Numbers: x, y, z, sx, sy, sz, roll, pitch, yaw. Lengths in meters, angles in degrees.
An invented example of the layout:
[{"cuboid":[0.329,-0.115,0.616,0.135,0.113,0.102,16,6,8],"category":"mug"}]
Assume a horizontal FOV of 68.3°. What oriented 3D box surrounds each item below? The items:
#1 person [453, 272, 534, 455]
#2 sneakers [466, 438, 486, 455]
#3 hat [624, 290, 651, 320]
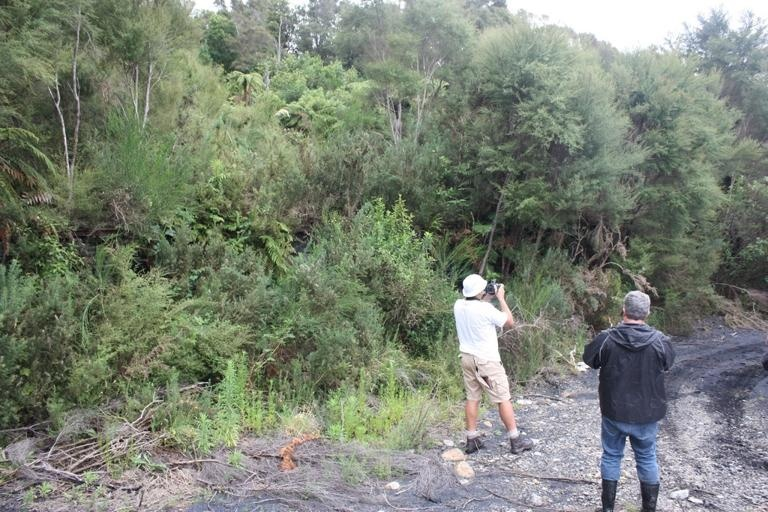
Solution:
[{"cuboid":[1.754,1.864,9.602,0.960,3.068,0.426,-4,-3,7],"category":"person"},{"cuboid":[1.518,3.256,9.615,0.416,0.295,0.157,0,-14,-46],"category":"sneakers"},{"cuboid":[3.806,0.723,8.577,0.330,0.454,0.442,-11,23,22],"category":"hat"}]
